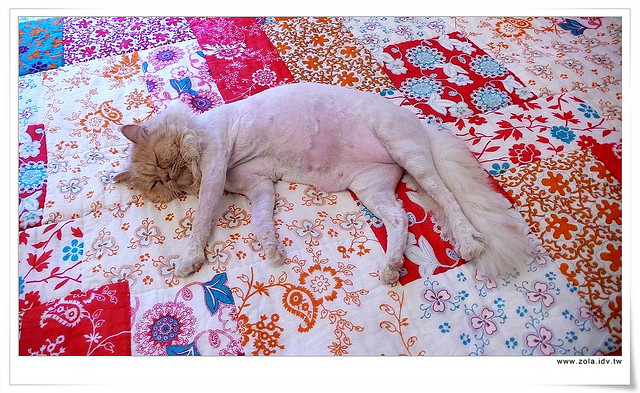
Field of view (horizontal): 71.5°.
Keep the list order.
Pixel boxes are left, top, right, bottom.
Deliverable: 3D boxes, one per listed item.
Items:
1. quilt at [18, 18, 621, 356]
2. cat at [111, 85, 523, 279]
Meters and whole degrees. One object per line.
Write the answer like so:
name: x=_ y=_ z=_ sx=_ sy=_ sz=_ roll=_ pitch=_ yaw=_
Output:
quilt: x=0.034 y=-0.236 z=2.256 sx=3.173 sy=0.480 sz=1.961 roll=1 pitch=50 yaw=1
cat: x=-0.014 y=-0.037 z=2.105 sx=1.691 sy=0.435 sz=0.796 roll=6 pitch=51 yaw=-9
